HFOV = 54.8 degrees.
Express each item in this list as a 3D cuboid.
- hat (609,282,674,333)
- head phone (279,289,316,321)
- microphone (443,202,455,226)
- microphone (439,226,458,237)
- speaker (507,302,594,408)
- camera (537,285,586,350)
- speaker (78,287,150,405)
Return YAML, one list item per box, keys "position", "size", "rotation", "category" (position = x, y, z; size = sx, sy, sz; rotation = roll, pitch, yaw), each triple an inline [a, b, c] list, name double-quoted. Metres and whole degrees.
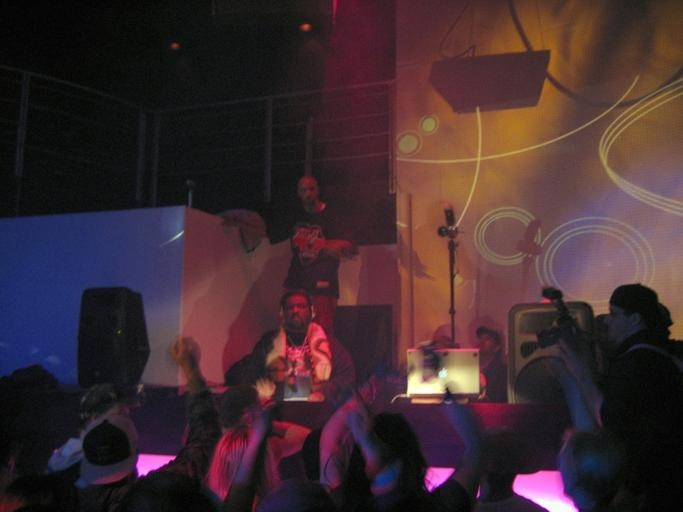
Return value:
- position: [2.192, 0.313, 4.916]
  size: [0.450, 0.403, 0.344]
  rotation: [19, 9, 37]
  category: "hat"
- position: [-0.418, 0.446, 6.291]
  size: [0.251, 0.325, 0.260]
  rotation: [-3, 30, -1]
  category: "head phone"
- position: [1.154, -0.448, 7.032]
  size: [0.123, 0.294, 0.477]
  rotation: [-1, -6, 10]
  category: "microphone"
- position: [1.109, -0.248, 6.886]
  size: [0.147, 0.076, 0.110]
  rotation: [-1, -2, -9]
  category: "microphone"
- position: [1.348, 0.678, 4.632]
  size: [0.495, 0.774, 0.220]
  rotation: [-1, 1, 23]
  category: "speaker"
- position: [1.540, 0.420, 4.601]
  size: [0.318, 0.482, 0.126]
  rotation: [2, 28, 40]
  category: "camera"
- position: [-2.027, 0.842, 6.257]
  size: [0.762, 1.483, 0.790]
  rotation: [2, -11, -21]
  category: "speaker"
